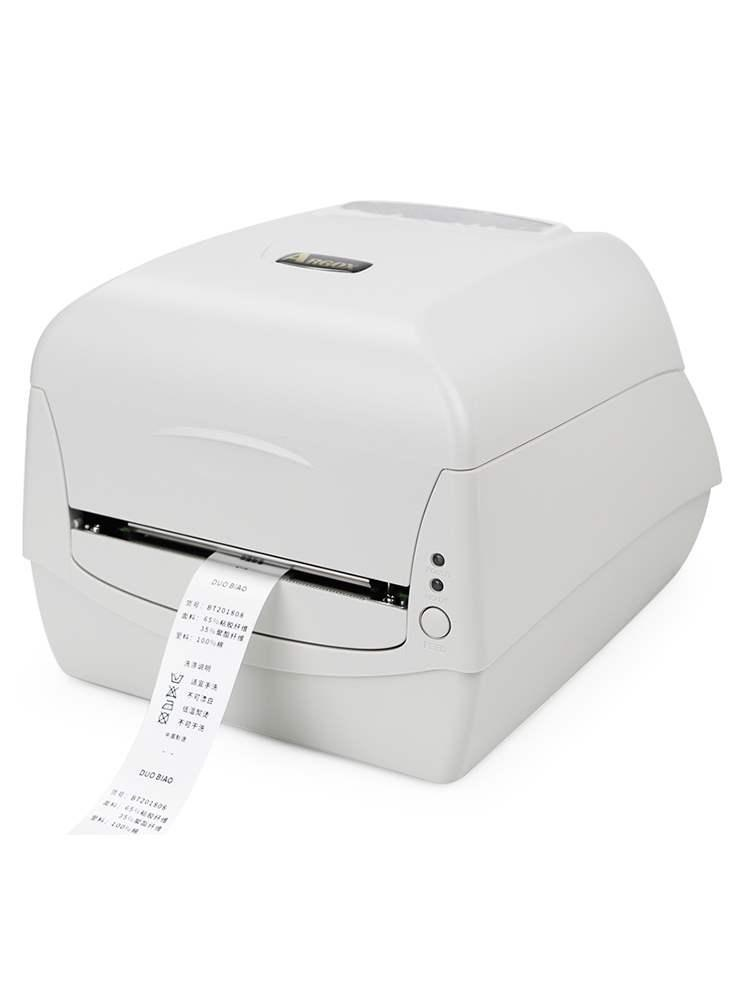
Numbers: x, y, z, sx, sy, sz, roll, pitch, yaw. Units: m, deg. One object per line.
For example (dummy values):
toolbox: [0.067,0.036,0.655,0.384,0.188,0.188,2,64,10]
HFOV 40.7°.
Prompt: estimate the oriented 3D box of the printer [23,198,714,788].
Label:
printer: [0.040,-0.100,1.548,0.799,0.571,0.972,17,26,41]

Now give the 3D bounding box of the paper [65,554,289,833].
paper: [-0.210,0.218,1.193,0.121,0.054,0.403,16,67,25]
